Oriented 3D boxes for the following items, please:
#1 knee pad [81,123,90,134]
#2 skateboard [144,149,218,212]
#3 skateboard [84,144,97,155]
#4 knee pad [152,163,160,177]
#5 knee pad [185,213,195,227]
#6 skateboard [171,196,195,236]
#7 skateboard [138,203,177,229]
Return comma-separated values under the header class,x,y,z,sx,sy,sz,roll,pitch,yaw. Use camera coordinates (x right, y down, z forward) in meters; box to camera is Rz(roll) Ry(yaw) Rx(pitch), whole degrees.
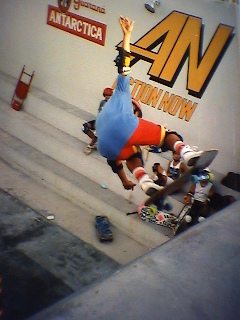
class,x,y,z,sx,sy,sz,roll,pitch,yaw
knee pad,-0.662,-0.626,5.437,0.167,0.172,0.312,22,9,-15
skateboard,0.886,0.331,3.880,0.335,1.298,0.216,33,26,-46
skateboard,-0.567,-0.189,5.303,0.104,0.283,0.077,60,-6,-8
knee pad,0.593,0.162,4.627,0.078,0.226,0.095,-6,-17,2
knee pad,1.091,0.934,4.372,0.143,0.166,0.193,-3,-11,1
skateboard,0.978,0.919,4.520,0.230,0.749,0.130,30,-1,35
skateboard,0.634,0.917,4.503,0.816,0.250,0.243,11,30,42
